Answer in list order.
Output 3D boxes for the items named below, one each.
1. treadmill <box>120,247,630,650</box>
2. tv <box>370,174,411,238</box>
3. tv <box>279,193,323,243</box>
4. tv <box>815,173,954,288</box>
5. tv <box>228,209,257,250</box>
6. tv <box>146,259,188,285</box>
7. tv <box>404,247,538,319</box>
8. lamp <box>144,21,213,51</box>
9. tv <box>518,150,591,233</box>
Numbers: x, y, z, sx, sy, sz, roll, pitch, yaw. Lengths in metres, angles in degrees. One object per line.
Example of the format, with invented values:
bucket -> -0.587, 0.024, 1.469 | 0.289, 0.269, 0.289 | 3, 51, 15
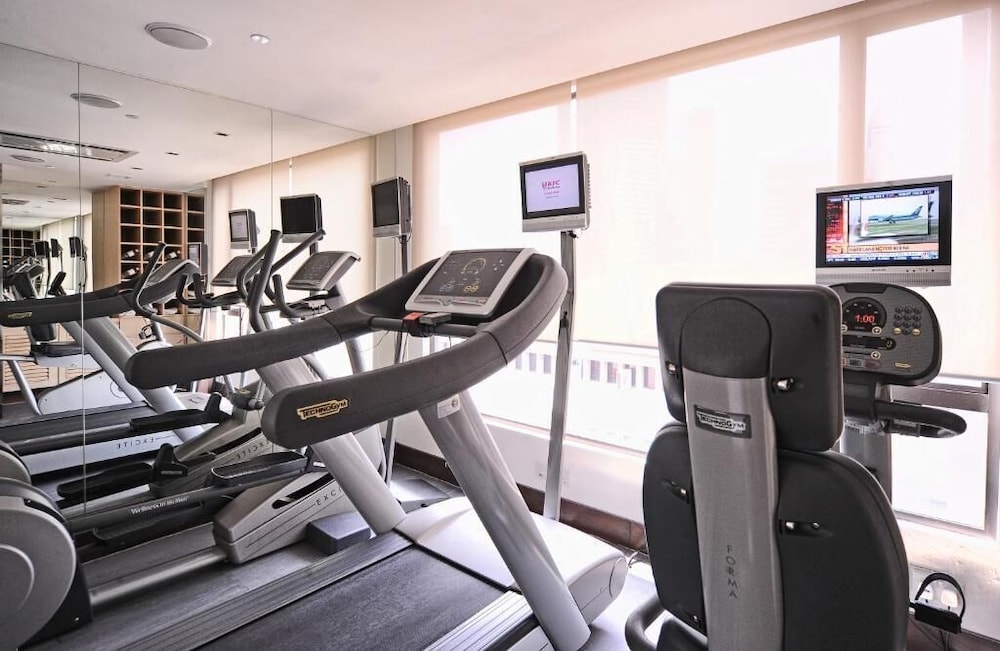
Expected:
treadmill -> -0.497, 0.662, 3.227 | 1.528, 2.063, 1.918 | 9, 15, 43
tv -> -0.790, -0.846, 4.523 | 0.186, 0.412, 0.387 | -12, 15, -42
tv -> -1.421, -0.769, 4.499 | 0.476, 0.330, 0.148 | 9, 16, 43
tv -> 1.981, -0.473, 3.228 | 0.736, 0.577, 0.236 | 1, 1, 28
tv -> -2.014, -0.726, 4.991 | 0.250, 0.330, 0.221 | 2, 5, 18
tv -> -2.402, -0.388, 4.520 | 0.268, 0.070, 0.152 | -39, 33, -29
tv -> -0.146, -0.217, 3.066 | 0.566, 0.160, 0.397 | 5, 36, 44
lamp -> -2.105, -1.884, 4.103 | 0.371, 0.096, 0.290 | -10, 13, -38
tv -> 0.327, -0.771, 3.668 | 0.170, 0.412, 0.516 | 7, -1, -40
